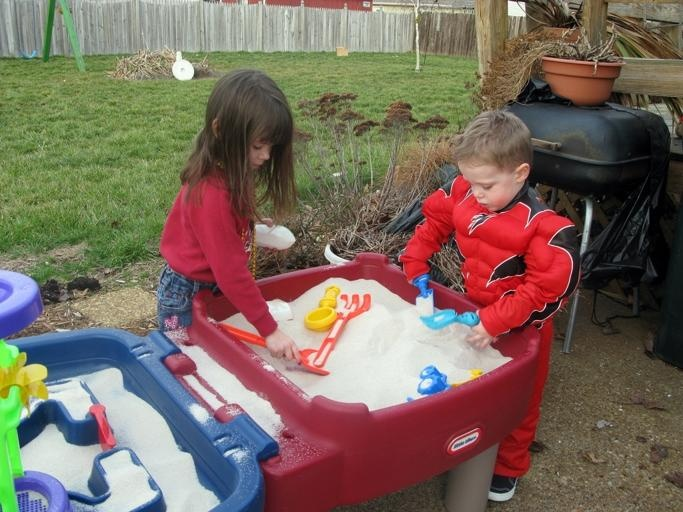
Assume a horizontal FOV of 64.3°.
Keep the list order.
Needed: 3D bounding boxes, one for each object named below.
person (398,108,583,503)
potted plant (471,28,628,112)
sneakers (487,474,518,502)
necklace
[{"bbox_3d":[0.668,0.273,2.503,0.682,1.902,0.796,-16,28,-26],"label":"person"},{"bbox_3d":[1.223,-1.133,3.251,0.658,0.431,0.659,4,24,11],"label":"potted plant"},{"bbox_3d":[0.662,0.952,2.266,0.165,0.071,0.065,-1,11,-33],"label":"sneakers"},{"bbox_3d":[-0.435,-0.106,2.178,0.115,0.362,0.255,-5,6,-7],"label":"necklace"}]
